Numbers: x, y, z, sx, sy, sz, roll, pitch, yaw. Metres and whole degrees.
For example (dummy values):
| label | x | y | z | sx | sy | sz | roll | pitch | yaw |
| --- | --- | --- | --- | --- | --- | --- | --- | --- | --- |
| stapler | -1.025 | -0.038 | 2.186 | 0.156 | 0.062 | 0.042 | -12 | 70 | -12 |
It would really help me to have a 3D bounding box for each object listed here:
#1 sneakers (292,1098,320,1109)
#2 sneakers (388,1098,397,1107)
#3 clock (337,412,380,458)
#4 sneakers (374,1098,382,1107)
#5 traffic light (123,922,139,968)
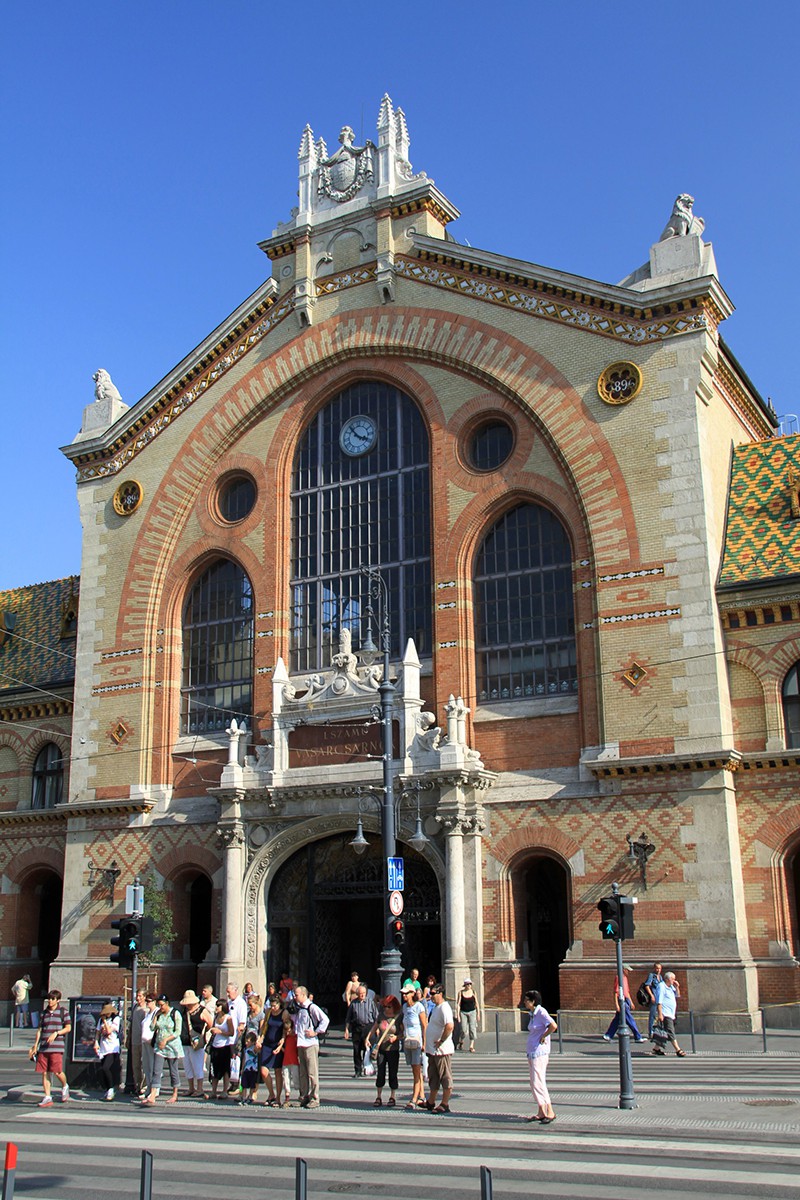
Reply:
| label | x | y | z | sx | sy | sz | roll | pitch | yaw |
| --- | --- | --- | --- | --- | --- | --- | --- | --- | --- |
| sneakers | -1.386 | 7.591 | 18.931 | 0.141 | 0.153 | 0.408 | -8 | -26 | 15 |
| sneakers | -0.118 | 7.516 | 18.823 | 0.068 | 0.130 | 0.199 | 1 | -10 | 7 |
| clock | -1.163 | -4.747 | 36.205 | 1.340 | 1.220 | 0.145 | -16 | -28 | 32 |
| sneakers | -0.342 | 7.483 | 18.740 | 0.089 | 0.102 | 0.259 | -1 | -22 | 3 |
| traffic light | -4.699 | 5.988 | 21.836 | 0.237 | 0.780 | 0.582 | 3 | -18 | -14 |
